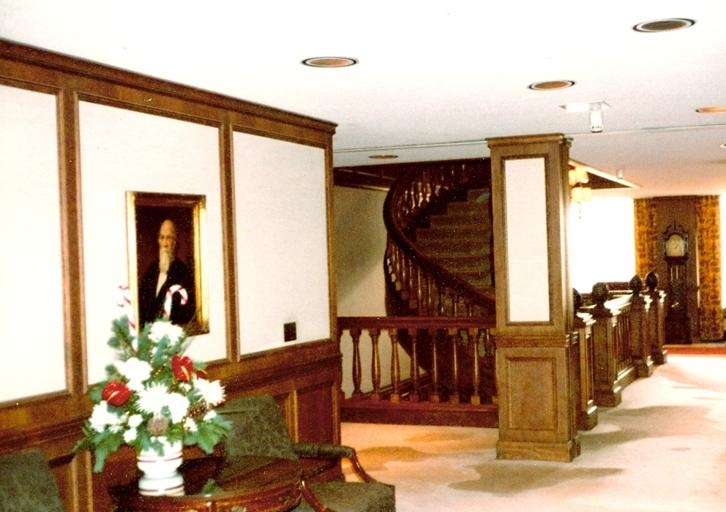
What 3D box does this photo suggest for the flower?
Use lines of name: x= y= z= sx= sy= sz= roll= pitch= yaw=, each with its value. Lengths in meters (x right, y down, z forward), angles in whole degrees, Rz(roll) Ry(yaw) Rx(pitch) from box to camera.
flower: x=-1.077 y=0.822 z=3.617 sx=0.800 sy=0.801 sz=0.703 roll=-3 pitch=14 yaw=-7

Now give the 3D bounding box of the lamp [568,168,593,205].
lamp: x=3.446 y=-1.124 z=10.521 sx=0.446 sy=0.519 sz=0.460 roll=-3 pitch=6 yaw=-7

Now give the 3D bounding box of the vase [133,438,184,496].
vase: x=-1.034 y=1.098 z=3.449 sx=0.287 sy=0.283 sz=0.273 roll=0 pitch=3 yaw=-15
